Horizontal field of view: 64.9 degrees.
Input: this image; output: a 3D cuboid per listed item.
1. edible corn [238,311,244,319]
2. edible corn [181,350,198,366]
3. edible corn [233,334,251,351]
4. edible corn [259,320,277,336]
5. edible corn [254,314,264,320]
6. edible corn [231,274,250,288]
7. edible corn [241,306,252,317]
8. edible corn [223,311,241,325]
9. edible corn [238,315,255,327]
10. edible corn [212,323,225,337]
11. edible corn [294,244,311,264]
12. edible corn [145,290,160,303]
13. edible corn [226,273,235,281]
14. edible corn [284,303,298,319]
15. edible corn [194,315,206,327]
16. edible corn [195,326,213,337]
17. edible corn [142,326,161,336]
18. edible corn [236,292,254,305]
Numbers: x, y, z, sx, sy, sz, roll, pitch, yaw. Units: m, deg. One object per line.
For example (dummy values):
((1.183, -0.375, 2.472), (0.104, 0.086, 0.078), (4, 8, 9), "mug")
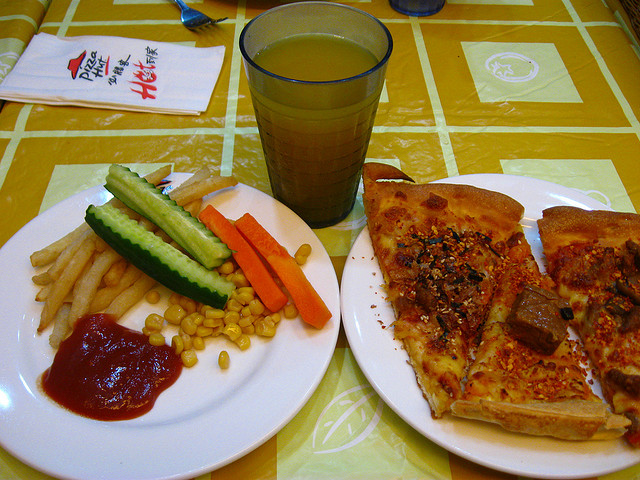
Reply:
((-0.334, 0.313, 2.122), (0.004, 0.019, 0.018), (-10, 19, 40), "edible corn")
((-0.527, 0.465, 2.000), (0.051, 0.027, 0.055), (-16, 50, -20), "edible corn")
((-0.315, 0.413, 2.037), (0.058, 0.030, 0.059), (-29, 67, -15), "edible corn")
((-0.219, 0.361, 2.047), (0.081, 0.022, 0.049), (24, 65, 11), "edible corn")
((-0.262, 0.318, 2.107), (0.025, 0.006, 0.024), (2, 35, 7), "edible corn")
((-0.350, 0.176, 2.194), (0.065, 0.050, 0.037), (23, 87, 21), "edible corn")
((-0.311, 0.295, 2.110), (0.027, 0.040, 0.040), (3, 72, 40), "edible corn")
((-0.371, 0.317, 2.088), (0.070, 0.022, 0.059), (-4, 63, -3), "edible corn")
((-0.309, 0.332, 2.067), (0.043, 0.013, 0.044), (-19, 17, 22), "edible corn")
((-0.426, 0.367, 2.071), (0.039, 0.014, 0.052), (10, 74, 9), "edible corn")
((-0.073, 0.057, 2.169), (0.051, 0.037, 0.087), (27, 79, 8), "edible corn")
((-0.726, 0.241, 2.156), (0.047, 0.025, 0.048), (31, 57, 18), "edible corn")
((-0.401, 0.159, 2.213), (0.017, 0.011, 0.034), (22, 41, 10), "edible corn")
((-0.122, 0.290, 2.084), (0.054, 0.030, 0.065), (-14, 64, -8), "edible corn")
((-0.501, 0.331, 2.077), (0.042, 0.034, 0.041), (6, 71, 4), "edible corn")
((-0.482, 0.374, 2.066), (0.068, 0.025, 0.045), (4, 62, 1), "edible corn")
((-0.708, 0.373, 2.070), (0.041, 0.011, 0.040), (3, 68, -9), "edible corn")
((-0.320, 0.245, 2.130), (0.047, 0.059, 0.034), (12, 72, -31), "edible corn")
